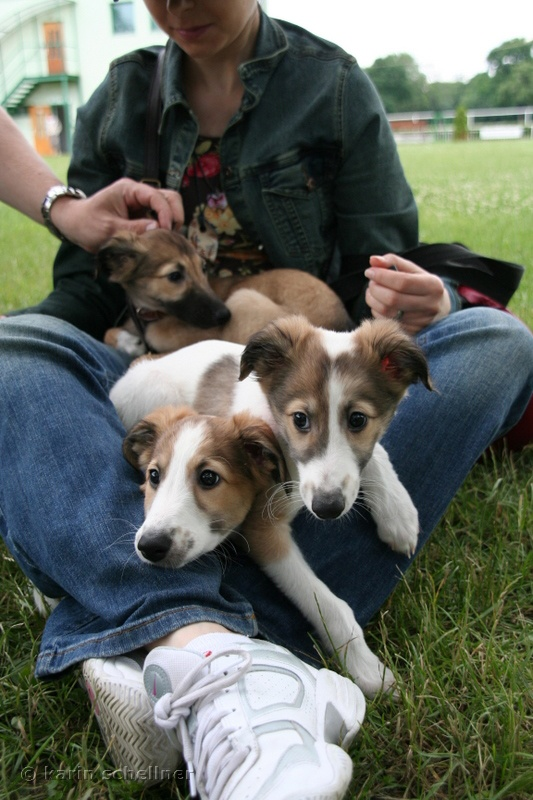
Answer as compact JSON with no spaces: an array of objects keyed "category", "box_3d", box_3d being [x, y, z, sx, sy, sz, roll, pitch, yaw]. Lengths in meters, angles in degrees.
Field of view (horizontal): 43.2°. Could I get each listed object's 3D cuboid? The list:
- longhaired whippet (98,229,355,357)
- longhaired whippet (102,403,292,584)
[{"category":"longhaired whippet","box_3d":[-0.105,-0.438,3.267,1.528,0.606,0.459,6,-7,23]},{"category":"longhaired whippet","box_3d":[-0.236,0.285,1.994,0.527,0.348,0.677,1,15,10]}]
